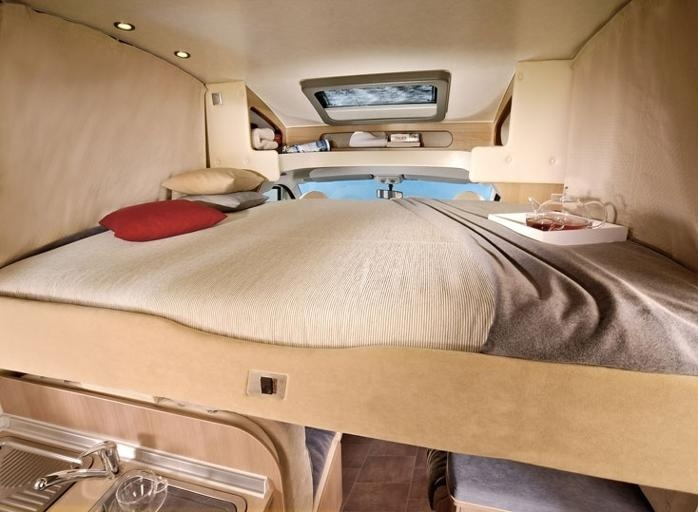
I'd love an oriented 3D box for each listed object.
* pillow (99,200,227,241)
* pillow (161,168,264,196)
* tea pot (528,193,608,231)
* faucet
[{"bbox_3d":[-0.794,-0.153,1.753,0.301,0.075,0.267,-18,20,-41],"label":"pillow"},{"bbox_3d":[-0.669,-0.412,2.419,0.334,0.149,0.602,9,12,33],"label":"pillow"},{"bbox_3d":[0.764,-0.150,1.593,0.287,0.106,0.199,3,11,34],"label":"tea pot"},{"bbox_3d":[-0.887,0.713,1.506,0.178,0.088,0.272,3,-5,28],"label":"faucet"}]
